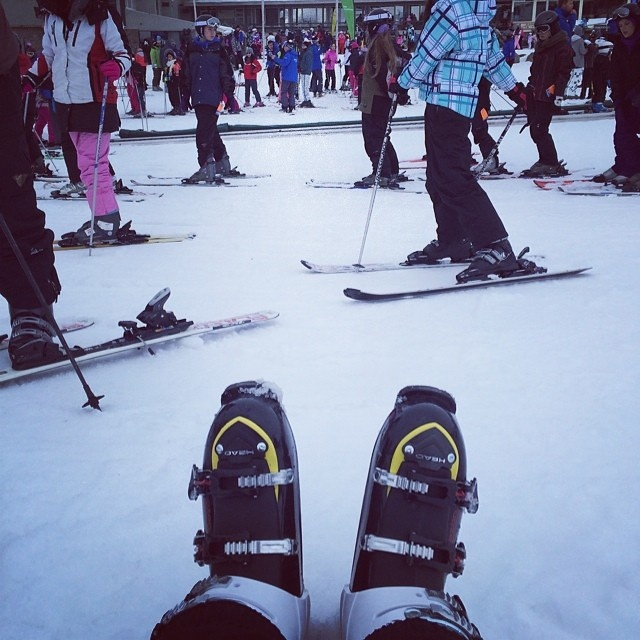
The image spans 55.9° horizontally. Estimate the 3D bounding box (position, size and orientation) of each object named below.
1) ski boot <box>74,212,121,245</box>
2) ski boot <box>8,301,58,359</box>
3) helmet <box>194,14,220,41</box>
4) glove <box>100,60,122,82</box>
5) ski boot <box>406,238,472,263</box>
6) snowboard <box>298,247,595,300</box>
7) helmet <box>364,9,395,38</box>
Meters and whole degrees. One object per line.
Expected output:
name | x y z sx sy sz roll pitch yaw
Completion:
ski boot | -1.570 -0.650 4.346 0.373 0.223 0.215 0 5 -27
ski boot | -1.126 0.045 2.366 0.163 0.151 0.224 -10 28 -22
helmet | -1.262 -3.256 6.781 0.256 0.268 0.508 -5 24 -9
glove | -1.358 -1.606 3.936 0.139 0.134 0.186 -9 25 -17
ski boot | 0.737 -0.437 3.832 0.464 0.184 0.159 -3 16 -3
snowboard | 0.639 -0.147 3.071 1.391 0.105 0.979 -7 5 4
helmet | 0.597 -2.983 6.116 0.305 0.272 0.244 6 48 13
